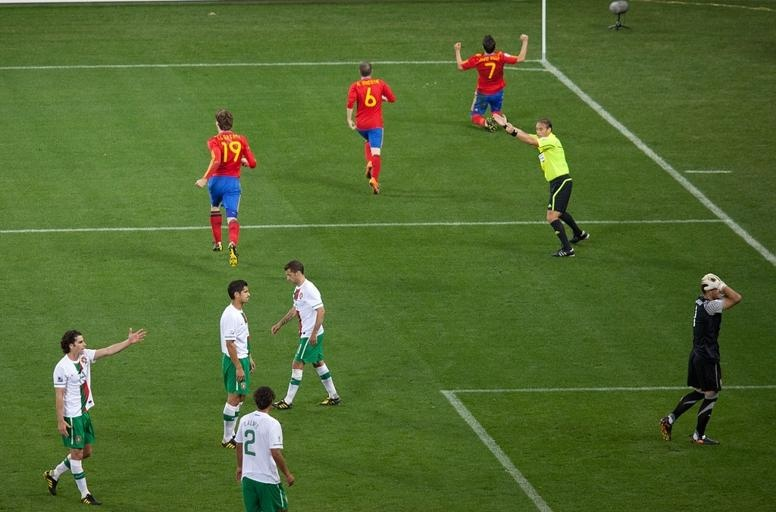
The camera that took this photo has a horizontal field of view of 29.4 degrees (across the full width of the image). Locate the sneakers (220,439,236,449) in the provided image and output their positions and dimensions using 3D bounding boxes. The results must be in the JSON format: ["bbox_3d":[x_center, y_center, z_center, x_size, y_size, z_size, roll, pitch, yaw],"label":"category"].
[{"bbox_3d":[-2.963,3.514,27.532,0.438,0.155,0.134,-5,10,15],"label":"sneakers"}]

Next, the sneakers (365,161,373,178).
[{"bbox_3d":[-0.511,-2.039,35.649,0.168,0.392,0.174,11,40,10],"label":"sneakers"}]

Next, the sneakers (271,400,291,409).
[{"bbox_3d":[-2.100,2.879,28.535,0.408,0.158,0.130,5,4,-4],"label":"sneakers"}]

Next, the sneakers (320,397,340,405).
[{"bbox_3d":[-1.112,2.831,28.590,0.420,0.154,0.132,1,18,7],"label":"sneakers"}]

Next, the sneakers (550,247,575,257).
[{"bbox_3d":[3.909,-0.051,32.994,0.575,0.194,0.170,1,11,6],"label":"sneakers"}]

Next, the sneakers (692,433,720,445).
[{"bbox_3d":[5.910,3.445,27.682,0.581,0.207,0.187,-1,8,13],"label":"sneakers"}]

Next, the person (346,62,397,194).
[{"bbox_3d":[-0.419,-3.045,35.725,1.077,3.148,1.255,-2,16,0],"label":"person"}]

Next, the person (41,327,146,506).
[{"bbox_3d":[-5.572,2.819,26.501,0.894,3.017,1.211,4,17,17],"label":"person"}]

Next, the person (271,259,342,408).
[{"bbox_3d":[-1.613,1.423,28.681,1.209,2.901,1.523,-3,16,-3],"label":"person"}]

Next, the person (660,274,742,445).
[{"bbox_3d":[5.851,1.967,27.486,1.349,3.147,0.757,-13,20,-35],"label":"person"}]

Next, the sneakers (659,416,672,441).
[{"bbox_3d":[5.196,3.256,27.765,0.267,0.434,0.190,-8,14,-15],"label":"sneakers"}]

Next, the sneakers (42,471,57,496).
[{"bbox_3d":[-6.036,4.087,26.426,0.256,0.461,0.170,-12,14,4],"label":"sneakers"}]

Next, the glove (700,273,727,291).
[{"bbox_3d":[6.023,0.502,27.433,0.473,0.291,0.310,11,12,14],"label":"glove"}]

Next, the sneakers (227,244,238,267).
[{"bbox_3d":[-3.414,0.017,32.364,0.227,0.459,0.231,5,25,13],"label":"sneakers"}]

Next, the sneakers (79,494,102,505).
[{"bbox_3d":[-5.295,4.354,26.357,0.422,0.144,0.139,3,2,8],"label":"sneakers"}]
